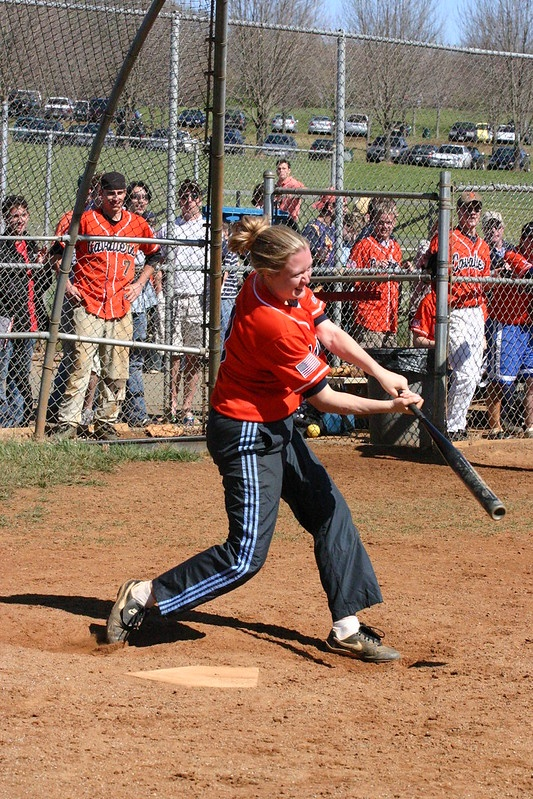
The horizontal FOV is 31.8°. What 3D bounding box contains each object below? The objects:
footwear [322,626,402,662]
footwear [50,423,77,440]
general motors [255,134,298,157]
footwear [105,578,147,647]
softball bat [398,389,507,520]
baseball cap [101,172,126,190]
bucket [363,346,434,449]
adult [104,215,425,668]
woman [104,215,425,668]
[{"bbox_3d":[0.384,0.984,3.774,0.335,0.144,0.115,13,4,-4],"label":"footwear"},{"bbox_3d":[-1.561,0.251,7.188,0.159,0.089,0.152,-4,13,-3],"label":"footwear"},{"bbox_3d":[0.161,-3.247,11.946,0.465,0.342,1.036,2,20,7],"label":"general motors"},{"bbox_3d":[-0.542,0.854,3.769,0.145,0.302,0.107,12,-7,24],"label":"footwear"},{"bbox_3d":[1.243,0.390,6.433,0.162,0.167,1.455,27,16,-32],"label":"softball bat"},{"bbox_3d":[-1.166,-1.662,7.131,0.157,0.105,0.152,5,16,7],"label":"baseball cap"},{"bbox_3d":[1.189,-0.012,7.932,0.755,1.001,0.771,1,0,0],"label":"bucket"},{"bbox_3d":[0.039,0.196,3.525,1.103,1.709,0.512,4,8,-14],"label":"adult"},{"bbox_3d":[0.038,0.197,3.521,1.107,1.709,0.506,5,8,-13],"label":"woman"}]
